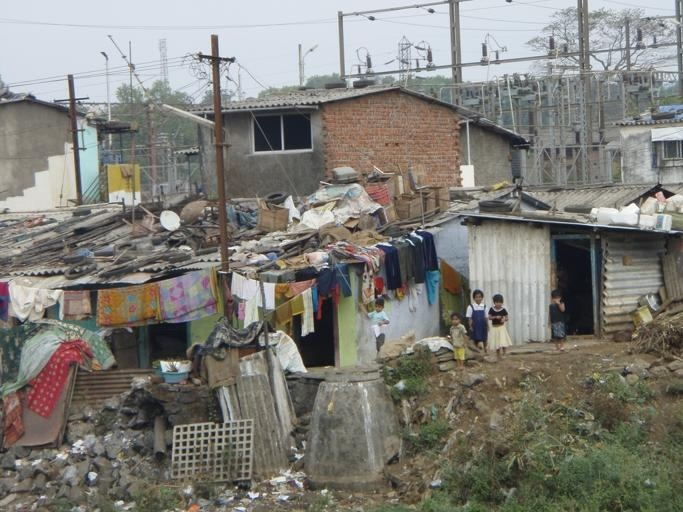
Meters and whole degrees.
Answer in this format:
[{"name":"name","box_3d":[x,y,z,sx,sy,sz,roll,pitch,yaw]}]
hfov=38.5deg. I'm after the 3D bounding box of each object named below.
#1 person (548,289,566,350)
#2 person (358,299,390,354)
[{"name":"person","box_3d":[4.886,1.399,22.080,0.319,1.341,1.343,-1,3,11]},{"name":"person","box_3d":[0.785,1.657,23.508,0.767,1.249,1.655,0,42,2]}]
